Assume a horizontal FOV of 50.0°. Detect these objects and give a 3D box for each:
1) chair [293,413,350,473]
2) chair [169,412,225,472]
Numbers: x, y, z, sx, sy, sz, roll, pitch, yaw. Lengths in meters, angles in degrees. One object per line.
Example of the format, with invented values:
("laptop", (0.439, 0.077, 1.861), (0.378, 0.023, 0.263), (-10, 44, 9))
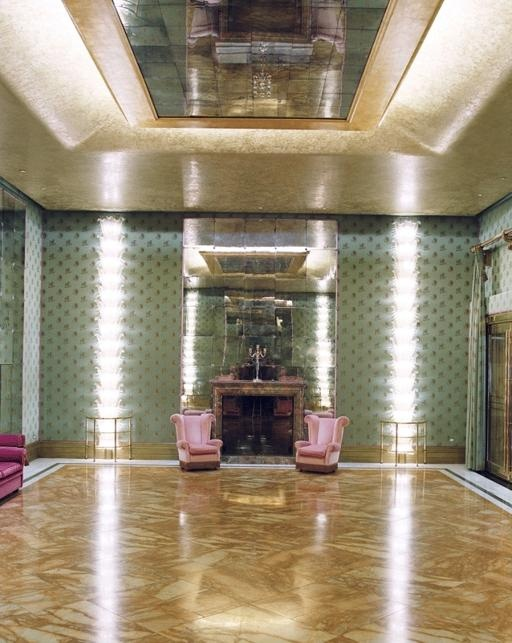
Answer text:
("chair", (1.068, 2.010, 9.079), (0.801, 0.797, 0.708), (-5, -6, 41))
("chair", (-0.996, 2.012, 9.073), (0.741, 0.887, 0.585), (3, -6, -22))
